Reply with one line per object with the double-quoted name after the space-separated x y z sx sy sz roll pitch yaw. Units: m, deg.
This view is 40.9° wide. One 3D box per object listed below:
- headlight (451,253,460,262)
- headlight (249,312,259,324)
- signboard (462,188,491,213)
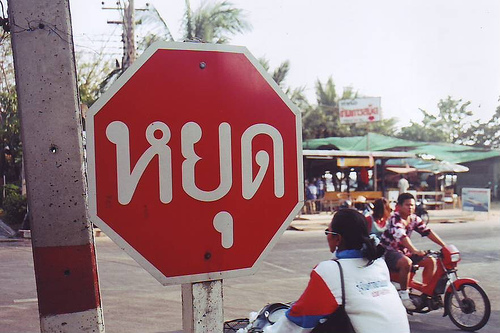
2.843 1.251 9.199 0.067 0.099 0.076 7 -12 40 "headlight"
0.044 1.482 6.570 0.076 0.087 0.063 -1 -1 18 "headlight"
7.634 1.139 22.398 0.685 0.925 1.226 -2 3 -42 "signboard"
